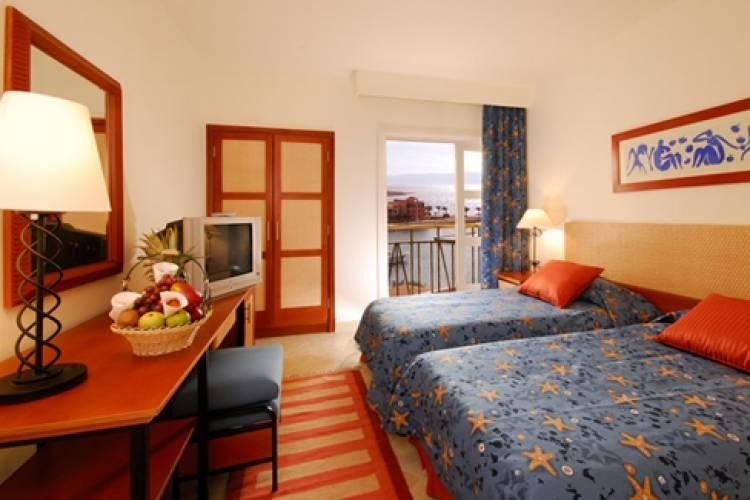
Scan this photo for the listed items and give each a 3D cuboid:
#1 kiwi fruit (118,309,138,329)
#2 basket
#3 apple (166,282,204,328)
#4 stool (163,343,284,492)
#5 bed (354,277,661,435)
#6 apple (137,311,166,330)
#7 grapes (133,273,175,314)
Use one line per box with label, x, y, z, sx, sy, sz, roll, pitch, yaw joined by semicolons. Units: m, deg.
kiwi fruit;-1.347;0.371;2.580;0.097;0.110;0.093;2;9;-36
basket;-1.308;0.309;2.895;0.684;0.608;0.591;1;2;28
apple;-1.092;0.308;2.764;0.132;0.219;0.165;-27;-9;31
stool;-0.952;0.869;3.089;0.717;0.507;1.036;-2;7;-18
bed;0.982;0.754;4.048;1.854;0.593;1.241;-1;4;-11
apple;-1.218;0.382;2.575;0.103;0.098;0.101;11;21;-1
grapes;-1.254;0.229;2.719;0.128;0.098;0.295;9;27;1
